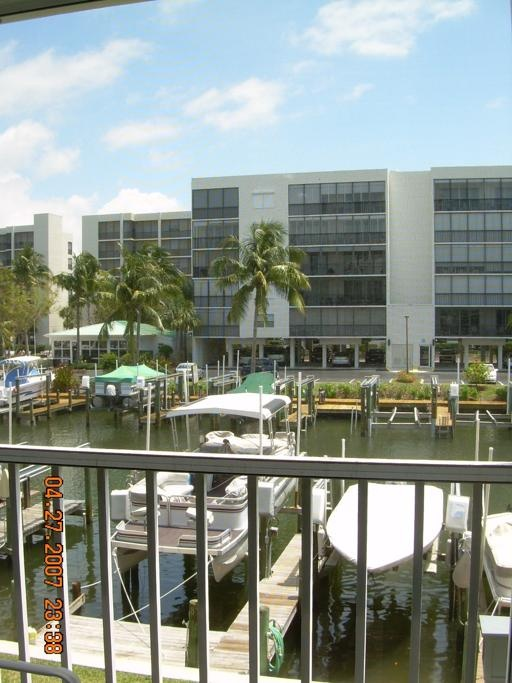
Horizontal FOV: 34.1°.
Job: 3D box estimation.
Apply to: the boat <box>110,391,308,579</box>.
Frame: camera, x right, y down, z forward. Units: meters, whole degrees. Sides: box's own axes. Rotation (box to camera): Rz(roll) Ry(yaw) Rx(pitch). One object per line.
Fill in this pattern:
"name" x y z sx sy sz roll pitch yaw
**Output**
"boat" -0.499 1.860 11.601 1.613 2.260 5.597 -1 -1 10
